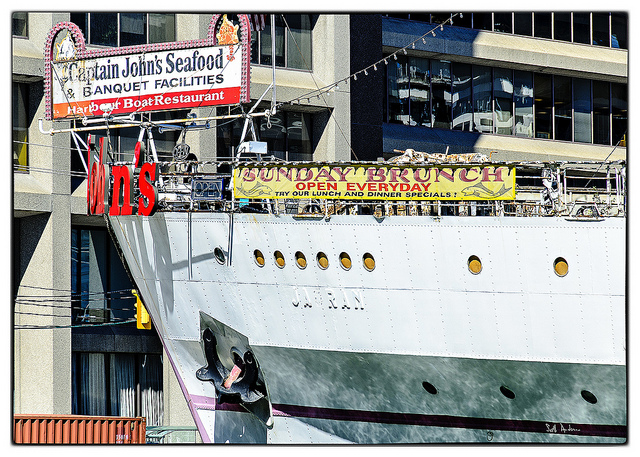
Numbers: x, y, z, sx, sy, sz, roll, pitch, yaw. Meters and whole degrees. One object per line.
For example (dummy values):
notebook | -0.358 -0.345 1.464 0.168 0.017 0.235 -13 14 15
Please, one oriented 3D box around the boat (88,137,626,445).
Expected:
boat | 0.595 2.834 37.071 20.259 6.505 6.171 7 -6 -42

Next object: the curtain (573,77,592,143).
curtain | 10.175 -4.607 48.852 0.825 2.541 0.032 9 21 38

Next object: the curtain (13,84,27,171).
curtain | -9.584 -3.260 40.668 0.395 2.719 0.772 -2 4 -12

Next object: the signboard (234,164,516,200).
signboard | 1.480 -1.276 33.778 7.321 0.958 0.369 0 4 7

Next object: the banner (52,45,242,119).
banner | -4.980 -4.274 36.212 6.034 1.885 0.126 -3 -3 15
